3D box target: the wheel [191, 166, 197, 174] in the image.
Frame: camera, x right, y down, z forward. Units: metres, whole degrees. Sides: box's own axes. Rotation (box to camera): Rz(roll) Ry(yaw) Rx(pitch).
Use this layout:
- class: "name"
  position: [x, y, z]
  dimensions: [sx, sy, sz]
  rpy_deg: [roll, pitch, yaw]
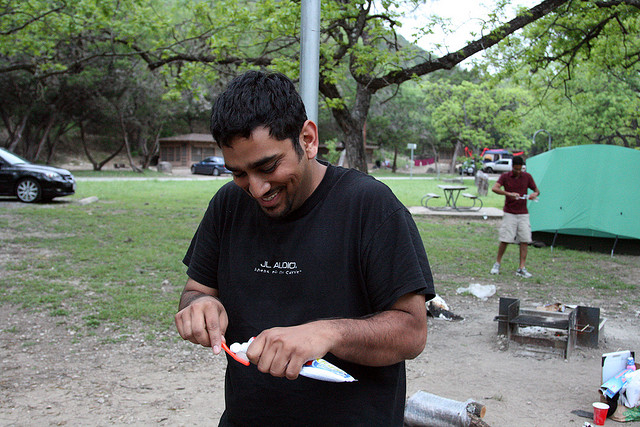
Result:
- class: "wheel"
  position: [-9.109, -3.122, 38.836]
  dimensions: [0.118, 0.478, 0.482]
  rpy_deg: [4, -5, -43]

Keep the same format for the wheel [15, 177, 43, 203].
- class: "wheel"
  position: [-8.822, -0.743, 16.163]
  dimensions: [0.670, 0.654, 0.232]
  rpy_deg: [13, -2, -4]

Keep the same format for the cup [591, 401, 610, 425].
- class: "cup"
  position: [3.638, 2.600, 7.015]
  dimensions: [0.268, 0.274, 0.257]
  rpy_deg: [0, -4, 0]

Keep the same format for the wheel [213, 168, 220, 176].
- class: "wheel"
  position: [-7.293, -2.934, 37.559]
  dimensions: [0.451, 0.474, 0.454]
  rpy_deg: [3, 2, 0]
